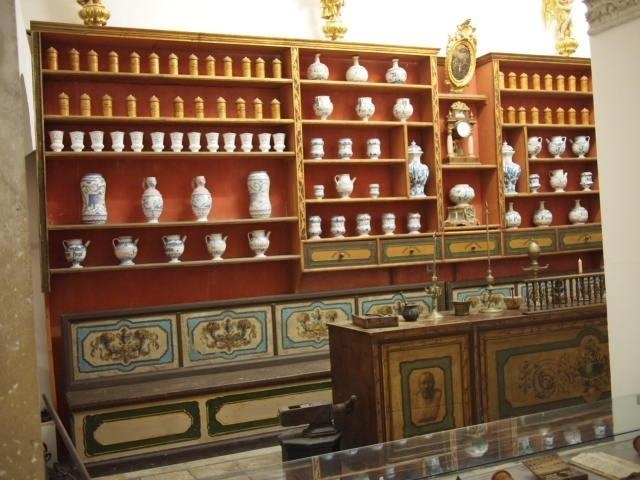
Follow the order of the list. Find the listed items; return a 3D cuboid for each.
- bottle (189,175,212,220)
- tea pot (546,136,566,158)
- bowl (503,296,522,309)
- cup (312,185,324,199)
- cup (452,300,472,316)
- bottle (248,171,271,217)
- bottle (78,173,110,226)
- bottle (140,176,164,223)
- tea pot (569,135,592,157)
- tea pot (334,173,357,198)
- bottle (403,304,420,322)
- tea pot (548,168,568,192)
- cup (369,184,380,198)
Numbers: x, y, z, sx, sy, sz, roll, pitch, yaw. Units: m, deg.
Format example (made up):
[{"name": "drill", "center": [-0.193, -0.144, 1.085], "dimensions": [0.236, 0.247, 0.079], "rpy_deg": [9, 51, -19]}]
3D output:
[{"name": "bottle", "center": [-0.958, -0.335, 4.441], "dimensions": [0.175, 0.360, 0.316], "rpy_deg": [-4, 7, -11]}, {"name": "tea pot", "center": [2.403, -0.949, 5.566], "dimensions": [0.251, 0.225, 0.186], "rpy_deg": [-1, 5, -12]}, {"name": "bowl", "center": [1.371, 0.446, 3.902], "dimensions": [0.097, 0.060, 0.091], "rpy_deg": [1, -3, 0]}, {"name": "cup", "center": [-0.009, -0.415, 4.750], "dimensions": [0.119, 0.122, 0.112], "rpy_deg": [0, 1, 0]}, {"name": "cup", "center": [0.965, 0.462, 3.735], "dimensions": [0.113, 0.077, 0.111], "rpy_deg": [-1, -1, 0]}, {"name": "bottle", "center": [-0.507, -0.375, 4.563], "dimensions": [0.176, 0.390, 0.219], "rpy_deg": [-4, 7, -9]}, {"name": "bottle", "center": [-1.728, -0.319, 4.207], "dimensions": [0.196, 0.385, 0.235], "rpy_deg": [-5, 7, -20]}, {"name": "bottle", "center": [-1.319, -0.314, 4.328], "dimensions": [0.178, 0.356, 0.305], "rpy_deg": [-5, 7, -18]}, {"name": "tea pot", "center": [2.701, -0.956, 5.698], "dimensions": [0.250, 0.243, 0.200], "rpy_deg": [1, -3, -7]}, {"name": "tea pot", "center": [0.204, -0.479, 4.831], "dimensions": [0.237, 0.202, 0.172], "rpy_deg": [-3, 0, -11]}, {"name": "bottle", "center": [0.596, 0.481, 3.610], "dimensions": [0.115, 0.082, 0.123], "rpy_deg": [0, -1, 0]}, {"name": "tea pot", "center": [2.417, -0.608, 5.659], "dimensions": [0.252, 0.259, 0.207], "rpy_deg": [1, 2, 10]}, {"name": "cup", "center": [0.479, -0.447, 4.964], "dimensions": [0.121, 0.131, 0.114], "rpy_deg": [0, 1, 0]}]
